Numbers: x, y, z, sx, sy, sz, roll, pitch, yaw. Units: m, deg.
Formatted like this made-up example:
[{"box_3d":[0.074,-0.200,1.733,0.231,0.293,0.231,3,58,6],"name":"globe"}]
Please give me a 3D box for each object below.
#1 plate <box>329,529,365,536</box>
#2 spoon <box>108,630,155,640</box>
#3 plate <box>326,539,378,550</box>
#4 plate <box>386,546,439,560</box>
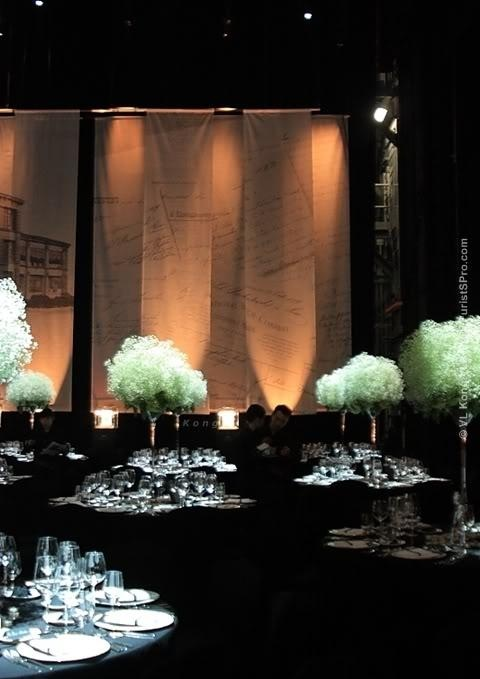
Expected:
[{"box_3d":[0.460,0.841,3.453,0.147,0.019,0.175,-1,-6,8],"name":"plate"},{"box_3d":[-0.303,0.841,2.257,0.136,0.015,0.039,5,29,-2],"name":"spoon"},{"box_3d":[0.429,0.824,3.185,0.174,0.016,0.165,0,-6,1],"name":"plate"},{"box_3d":[0.665,0.821,3.030,0.187,0.020,0.205,-2,-6,21],"name":"plate"}]
